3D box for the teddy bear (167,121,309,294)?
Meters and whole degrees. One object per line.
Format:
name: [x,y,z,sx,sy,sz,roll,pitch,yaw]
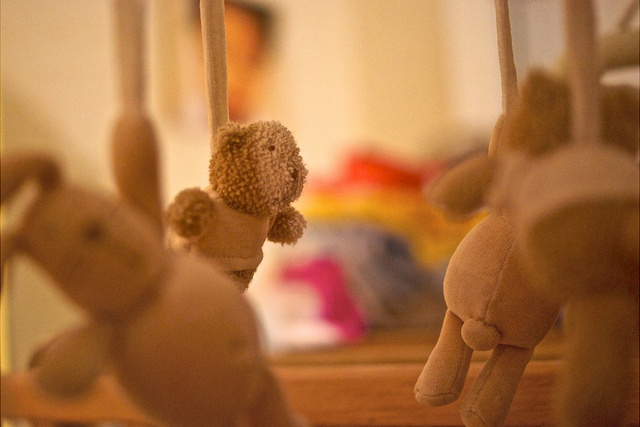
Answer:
teddy bear: [-0.098,-0.014,0.944,0.092,0.187,0.173,18,3,38]
